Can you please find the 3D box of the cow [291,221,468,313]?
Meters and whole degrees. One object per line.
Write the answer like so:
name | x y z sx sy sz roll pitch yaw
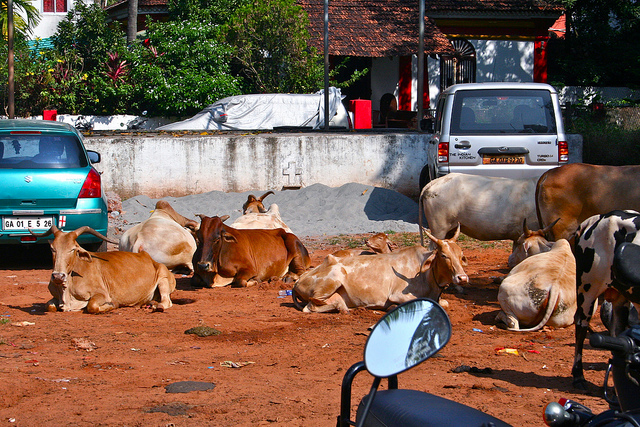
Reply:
cow | 0.876 0.828 12.785 2.793 1.488 1.141 -3 -2 5

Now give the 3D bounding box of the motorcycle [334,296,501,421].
motorcycle | 1.163 1.776 9.816 1.298 1.430 1.022 21 21 37

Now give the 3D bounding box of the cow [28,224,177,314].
cow | -3.354 0.892 12.983 1.213 1.164 2.062 -1 -4 39

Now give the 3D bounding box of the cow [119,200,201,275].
cow | -2.933 0.492 15.704 1.234 1.495 2.746 -5 3 7

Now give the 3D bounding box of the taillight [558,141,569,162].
taillight | 4.853 -1.213 16.550 0.194 0.414 0.154 -1 14 -4

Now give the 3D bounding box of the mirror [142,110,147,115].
mirror | -6.404 -3.653 30.157 0.119 0.048 0.191 0 23 3

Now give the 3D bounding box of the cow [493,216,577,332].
cow | 3.237 0.954 12.771 0.686 1.002 1.836 4 15 2

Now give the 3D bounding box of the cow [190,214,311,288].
cow | -1.205 0.751 14.621 0.973 1.066 2.174 -3 -5 36
